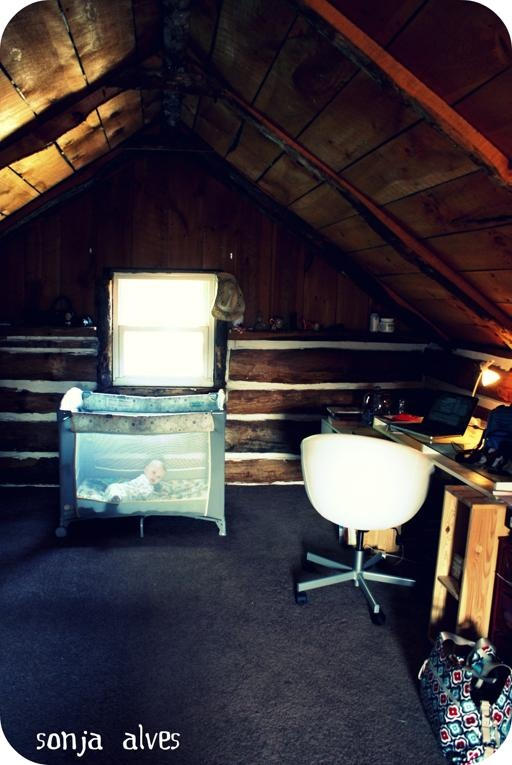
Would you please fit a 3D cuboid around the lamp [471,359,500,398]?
[{"bbox_3d":[1.295,-0.023,3.303,0.080,0.122,0.244,-29,-29,13],"label":"lamp"}]

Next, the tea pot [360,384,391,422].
[{"bbox_3d":[0.734,0.140,3.651,0.130,0.212,0.222,8,15,32],"label":"tea pot"}]

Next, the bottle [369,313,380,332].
[{"bbox_3d":[0.891,-0.454,4.410,0.066,0.140,0.065,2,11,0],"label":"bottle"}]

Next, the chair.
[{"bbox_3d":[0.491,0.598,2.744,0.602,0.780,0.548,6,8,30],"label":"chair"}]

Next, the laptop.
[{"bbox_3d":[0.926,0.158,3.065,0.186,0.279,0.303,36,-6,-19],"label":"laptop"}]
